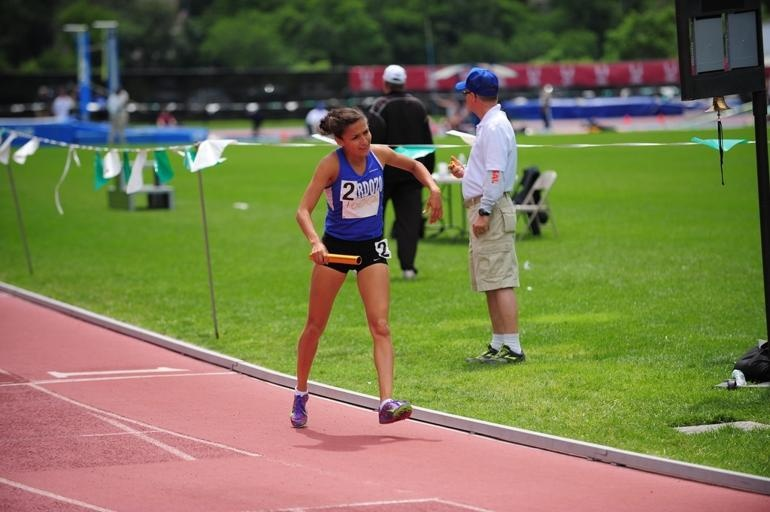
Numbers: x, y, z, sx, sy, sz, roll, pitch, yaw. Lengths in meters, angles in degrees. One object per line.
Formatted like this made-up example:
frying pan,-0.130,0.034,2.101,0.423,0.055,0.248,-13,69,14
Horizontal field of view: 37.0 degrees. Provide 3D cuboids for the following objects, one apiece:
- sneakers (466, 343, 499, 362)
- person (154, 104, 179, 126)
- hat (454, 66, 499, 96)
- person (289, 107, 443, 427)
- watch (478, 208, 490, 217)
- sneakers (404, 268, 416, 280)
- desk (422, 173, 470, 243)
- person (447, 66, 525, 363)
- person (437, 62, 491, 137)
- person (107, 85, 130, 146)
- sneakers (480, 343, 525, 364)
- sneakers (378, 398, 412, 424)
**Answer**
sneakers,1.073,1.124,13.232,0.467,0.189,0.153,4,-2,-36
person,-8.937,-5.702,46.710,1.119,1.006,3.277,6,4,-10
hat,1.026,-1.965,13.101,0.459,0.336,0.516,-1,8,3
person,-0.292,0.111,11.863,1.516,3.260,1.042,-2,8,-5
watch,1.099,-0.492,12.875,0.093,0.051,0.079,17,6,-24
sneakers,0.356,0.254,16.991,0.159,0.108,0.149,1,-4,-7
desk,1.231,-0.935,21.686,1.393,1.215,1.103,0,-1,-6
person,1.193,-0.469,13.138,0.743,3.319,0.600,-1,8,6
person,1.064,-1.777,13.156,0.661,0.724,0.672,-10,20,-31
person,-8.646,-4.446,37.115,0.646,1.500,3.917,-4,8,-13
sneakers,1.324,1.108,13.211,0.407,0.153,0.227,3,-5,-6
sneakers,0.084,1.532,11.520,0.328,0.180,0.194,-14,-6,33
